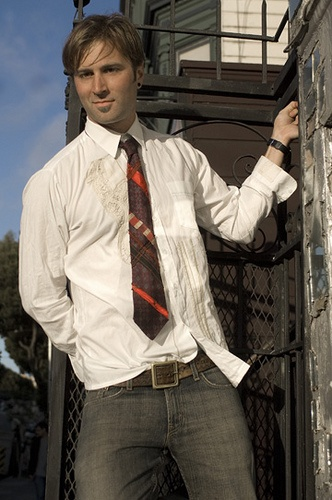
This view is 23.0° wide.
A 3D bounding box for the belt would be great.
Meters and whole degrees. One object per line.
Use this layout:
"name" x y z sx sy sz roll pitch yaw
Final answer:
"belt" 0.008 0.444 2.948 0.373 0.122 0.066 -4 -2 -20
